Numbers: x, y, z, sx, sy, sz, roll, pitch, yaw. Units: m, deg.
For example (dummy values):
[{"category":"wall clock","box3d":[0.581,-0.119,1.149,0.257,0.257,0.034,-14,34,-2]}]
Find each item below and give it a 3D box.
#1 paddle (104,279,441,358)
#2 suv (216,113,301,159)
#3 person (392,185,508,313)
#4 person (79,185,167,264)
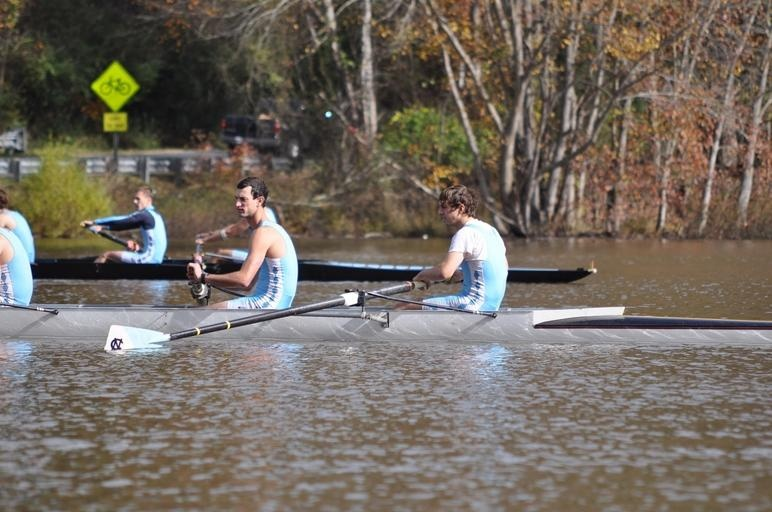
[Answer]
[{"category":"paddle","box3d":[-1.596,0.920,18.699,3.548,0.302,0.559,-8,15,2]},{"category":"suv","box3d":[-3.452,-3.353,36.832,1.227,0.724,2.127,3,5,16]},{"category":"person","box3d":[1.096,-0.088,18.310,1.147,1.750,0.461,1,7,3]},{"category":"person","box3d":[-4.537,-0.537,23.390,1.191,1.345,0.816,0,6,-11]}]
